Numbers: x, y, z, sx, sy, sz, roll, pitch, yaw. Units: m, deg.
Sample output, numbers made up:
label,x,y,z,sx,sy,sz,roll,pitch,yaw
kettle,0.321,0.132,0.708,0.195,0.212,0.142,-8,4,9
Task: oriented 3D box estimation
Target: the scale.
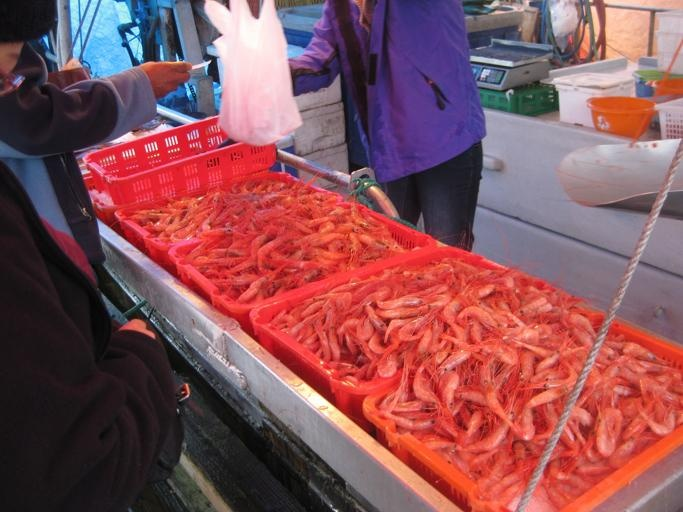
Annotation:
label,x,y,z,sx,sy,sz,roll,pitch,yaw
scale,1.438,-1.736,4.330,0.575,0.294,0.723,-17,32,-16
